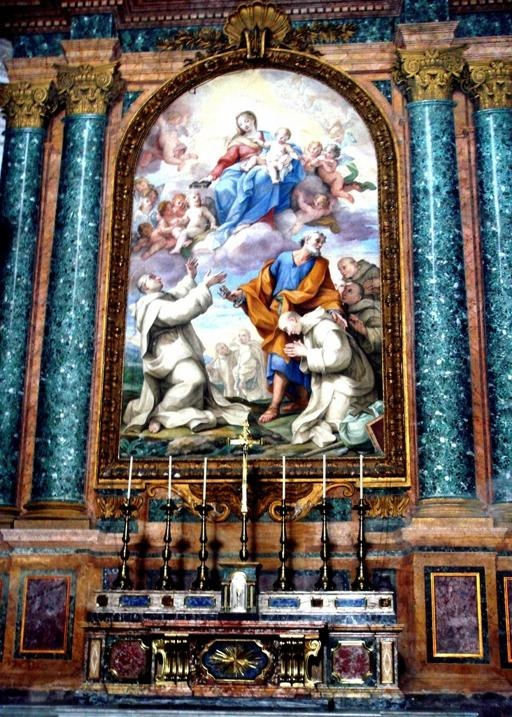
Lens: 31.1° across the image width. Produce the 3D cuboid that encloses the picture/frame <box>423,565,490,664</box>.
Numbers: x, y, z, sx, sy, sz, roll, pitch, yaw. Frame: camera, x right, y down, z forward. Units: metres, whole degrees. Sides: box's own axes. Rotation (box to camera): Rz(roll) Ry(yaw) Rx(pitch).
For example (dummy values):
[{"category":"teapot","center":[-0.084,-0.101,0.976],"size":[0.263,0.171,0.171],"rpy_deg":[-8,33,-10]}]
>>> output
[{"category":"picture/frame","center":[1.205,1.549,5.541],"size":[0.344,0.566,0.198],"rpy_deg":[-3,0,10]}]

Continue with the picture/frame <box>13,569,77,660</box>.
[{"category":"picture/frame","center":[-1.340,1.647,5.876],"size":[0.375,0.496,0.147],"rpy_deg":[-2,0,8]}]
